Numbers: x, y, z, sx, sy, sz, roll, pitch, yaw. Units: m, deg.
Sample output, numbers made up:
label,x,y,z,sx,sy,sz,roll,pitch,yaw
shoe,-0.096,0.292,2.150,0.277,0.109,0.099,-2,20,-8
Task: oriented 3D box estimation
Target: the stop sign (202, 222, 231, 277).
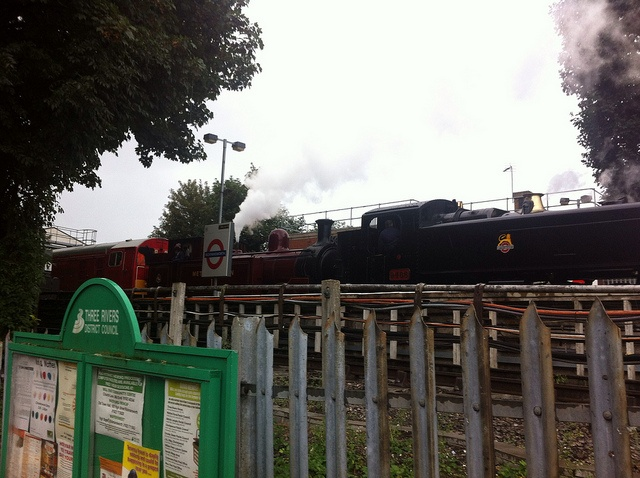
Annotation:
label,x,y,z,sx,sy,sz,roll,pitch,yaw
stop sign,-2.495,0.285,11.230,0.974,1.609,0.193,-12,-25,31
